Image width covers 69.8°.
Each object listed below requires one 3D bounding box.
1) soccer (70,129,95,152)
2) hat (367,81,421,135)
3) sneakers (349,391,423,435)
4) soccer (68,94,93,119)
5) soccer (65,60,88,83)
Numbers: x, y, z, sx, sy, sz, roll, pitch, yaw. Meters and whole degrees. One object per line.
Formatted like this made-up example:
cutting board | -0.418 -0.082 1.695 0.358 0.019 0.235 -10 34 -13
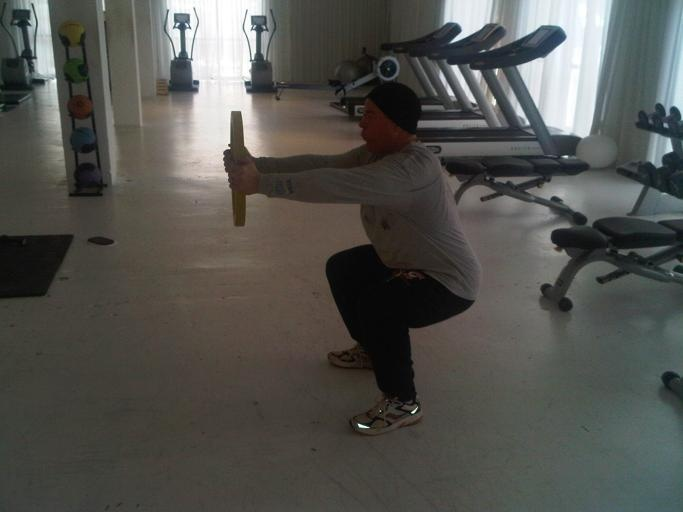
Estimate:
soccer | -2.155 -0.960 4.083 0.187 0.197 0.127 -10 25 -23
hat | 0.188 -0.540 1.807 0.126 0.187 0.166 -5 22 -17
sneakers | 0.190 0.625 1.967 0.274 0.134 0.099 -11 17 -12
soccer | -2.157 -1.221 4.039 0.178 0.193 0.169 -13 26 -27
soccer | -2.142 -1.477 3.937 0.175 0.185 0.099 -14 8 -9
